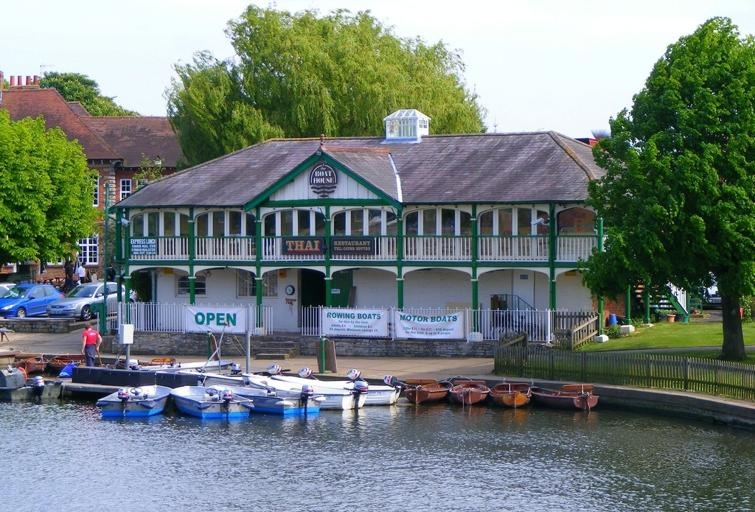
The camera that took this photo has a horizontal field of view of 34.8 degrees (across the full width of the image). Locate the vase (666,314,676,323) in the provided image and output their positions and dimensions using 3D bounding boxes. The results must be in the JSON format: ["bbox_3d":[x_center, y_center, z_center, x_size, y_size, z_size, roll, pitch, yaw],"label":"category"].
[{"bbox_3d":[15.948,3.379,65.694,0.366,0.331,0.400,2,-1,9],"label":"vase"}]

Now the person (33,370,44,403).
[{"bbox_3d":[-15.416,6.002,54.865,0.438,1.054,0.689,2,-4,-44],"label":"person"}]
